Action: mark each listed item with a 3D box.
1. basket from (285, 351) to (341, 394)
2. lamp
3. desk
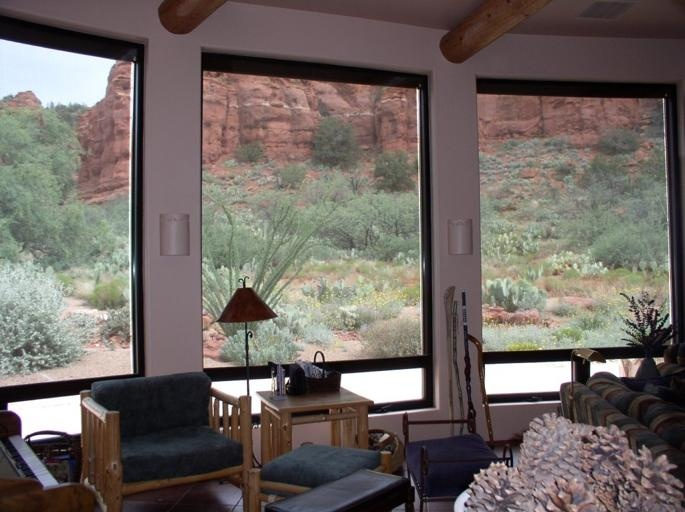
[{"bbox_3d":[-0.262,0.926,4.749,0.454,0.350,0.323,-1,-2,-16],"label":"basket"},{"bbox_3d":[-0.782,0.732,4.688,0.427,1.153,0.401,-5,10,-16],"label":"lamp"},{"bbox_3d":[-0.268,1.158,4.575,0.638,0.646,0.652,2,-4,-21],"label":"desk"}]
